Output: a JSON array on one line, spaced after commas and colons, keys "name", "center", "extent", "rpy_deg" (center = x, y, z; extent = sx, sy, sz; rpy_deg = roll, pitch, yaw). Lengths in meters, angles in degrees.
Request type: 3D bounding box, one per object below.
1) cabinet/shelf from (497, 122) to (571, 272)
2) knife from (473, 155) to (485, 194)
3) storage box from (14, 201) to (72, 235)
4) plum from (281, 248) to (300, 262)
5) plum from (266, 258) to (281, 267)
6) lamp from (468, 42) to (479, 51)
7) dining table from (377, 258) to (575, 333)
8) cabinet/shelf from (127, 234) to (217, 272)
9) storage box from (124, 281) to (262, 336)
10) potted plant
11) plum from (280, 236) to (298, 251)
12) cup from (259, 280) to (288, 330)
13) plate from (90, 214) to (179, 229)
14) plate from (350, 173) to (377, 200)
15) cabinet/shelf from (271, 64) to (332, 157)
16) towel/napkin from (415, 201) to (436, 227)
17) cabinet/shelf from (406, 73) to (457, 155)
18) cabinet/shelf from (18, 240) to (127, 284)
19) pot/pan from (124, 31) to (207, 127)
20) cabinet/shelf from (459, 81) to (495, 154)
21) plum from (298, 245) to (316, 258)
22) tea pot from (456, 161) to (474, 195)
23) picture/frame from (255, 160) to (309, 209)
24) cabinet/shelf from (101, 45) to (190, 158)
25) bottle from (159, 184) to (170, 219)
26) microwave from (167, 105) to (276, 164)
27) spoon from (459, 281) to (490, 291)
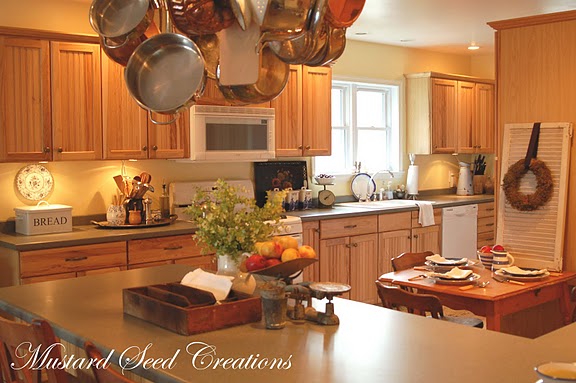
[{"name": "cabinet/shelf", "center": [2.026, 0.036, 3.512], "extent": [0.508, 1.198, 0.258], "rpy_deg": [3, 8, 30]}, {"name": "knife", "center": [3.114, -0.287, 6.869], "extent": [0.191, 0.620, 0.398], "rpy_deg": [3, 7, 24]}, {"name": "storage box", "center": [-2.094, 0.246, 3.619], "extent": [0.502, 0.220, 0.255], "rpy_deg": [-1, 0, -39]}, {"name": "plum", "center": [0.012, 0.291, 1.929], "extent": [0.082, 0.058, 0.061], "rpy_deg": [-7, 24, 6]}, {"name": "plum", "center": [-0.064, 0.326, 1.927], "extent": [0.038, 0.034, 0.036], "rpy_deg": [16, -1, 22]}, {"name": "lamp", "center": [2.801, -2.174, 6.372], "extent": [0.124, 0.035, 0.125], "rpy_deg": [3, 7, 35]}, {"name": "dining table", "center": [1.334, 0.694, 2.887], "extent": [0.717, 0.377, 0.692], "rpy_deg": [-9, 9, -43]}, {"name": "cabinet/shelf", "center": [-0.937, 0.466, 3.249], "extent": [0.541, 0.326, 0.278], "rpy_deg": [-3, 2, -41]}, {"name": "storage box", "center": [-0.358, 0.478, 1.726], "extent": [0.277, 0.062, 0.284], "rpy_deg": [-2, 4, -42]}, {"name": "potted plant", "center": [-0.227, 0.139, 2.291], "extent": [0.624, 0.561, 0.539], "rpy_deg": [3, 2, -36]}, {"name": "plum", "center": [0.003, 0.252, 2.048], "extent": [0.074, 0.062, 0.068], "rpy_deg": [5, 10, 4]}, {"name": "cup", "center": [-0.059, 0.471, 1.731], "extent": [0.137, 0.163, 0.123], "rpy_deg": [5, -10, -22]}, {"name": "plate", "center": [-1.413, 0.290, 3.980], "extent": [0.793, 0.060, 0.504], "rpy_deg": [-2, 6, -23]}, {"name": "plate", "center": [1.045, -0.067, 5.836], "extent": [0.387, 0.375, 0.091], "rpy_deg": [-4, 8, -30]}, {"name": "cabinet/shelf", "center": [-0.074, -0.962, 5.062], "extent": [0.587, 1.052, 1.244], "rpy_deg": [6, 12, 36]}, {"name": "towel/napkin", "center": [1.736, 0.296, 5.360], "extent": [0.366, 0.359, 0.229], "rpy_deg": [-2, 2, -32]}, {"name": "cabinet/shelf", "center": [2.073, -1.131, 6.172], "extent": [0.728, 1.162, 0.449], "rpy_deg": [1, 7, 14]}, {"name": "cabinet/shelf", "center": [-1.729, 0.455, 3.366], "extent": [0.563, 0.310, 0.284], "rpy_deg": [-1, -1, -37]}, {"name": "pot/pan", "center": [-0.424, -0.420, 1.492], "extent": [0.292, 0.276, 0.075], "rpy_deg": [2, 7, 15]}, {"name": "cabinet/shelf", "center": [2.960, -1.152, 6.570], "extent": [0.956, 1.085, 0.270], "rpy_deg": [-6, 9, -44]}, {"name": "plum", "center": [0.090, 0.293, 1.995], "extent": [0.060, 0.053, 0.061], "rpy_deg": [15, 22, 33]}, {"name": "tea pot", "center": [2.809, -0.201, 6.682], "extent": [0.241, 0.499, 0.391], "rpy_deg": [2, 7, 22]}, {"name": "picture/frame", "center": [-0.117, -0.071, 5.115], "extent": [0.718, 0.537, 0.158], "rpy_deg": [-2, -2, -31]}, {"name": "cabinet/shelf", "center": [-1.246, -0.743, 4.011], "extent": [1.034, 0.872, 0.367], "rpy_deg": [6, 16, 21]}, {"name": "bottle", "center": [-1.264, 0.092, 4.351], "extent": [0.105, 0.327, 0.271], "rpy_deg": [-2, 7, -15]}, {"name": "microwave", "center": [-0.578, -0.607, 4.401], "extent": [1.129, 0.609, 0.589], "rpy_deg": [-1, 7, -15]}, {"name": "spoon", "center": [1.269, 0.646, 2.889], "extent": [0.188, 0.024, 0.030], "rpy_deg": [-5, 6, -25]}]
